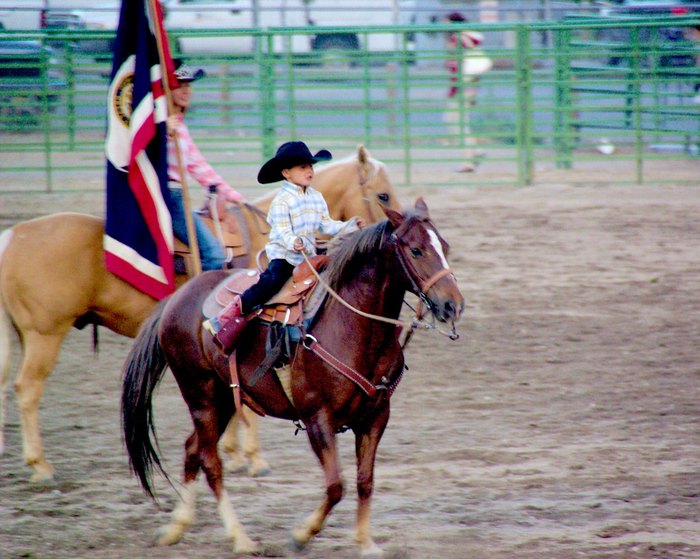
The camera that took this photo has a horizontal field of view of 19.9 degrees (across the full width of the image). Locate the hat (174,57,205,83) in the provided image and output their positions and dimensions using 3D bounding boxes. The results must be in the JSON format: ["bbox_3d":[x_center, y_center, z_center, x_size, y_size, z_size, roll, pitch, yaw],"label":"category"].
[{"bbox_3d":[-1.833,-2.291,22.033,0.404,0.120,0.251,13,14,6],"label":"hat"}]

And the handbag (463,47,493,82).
[{"bbox_3d":[1.823,-2.987,27.915,0.413,0.441,0.886,-1,7,3],"label":"handbag"}]

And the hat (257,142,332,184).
[{"bbox_3d":[-0.603,-1.210,20.858,0.652,0.204,0.499,-22,-11,25],"label":"hat"}]
